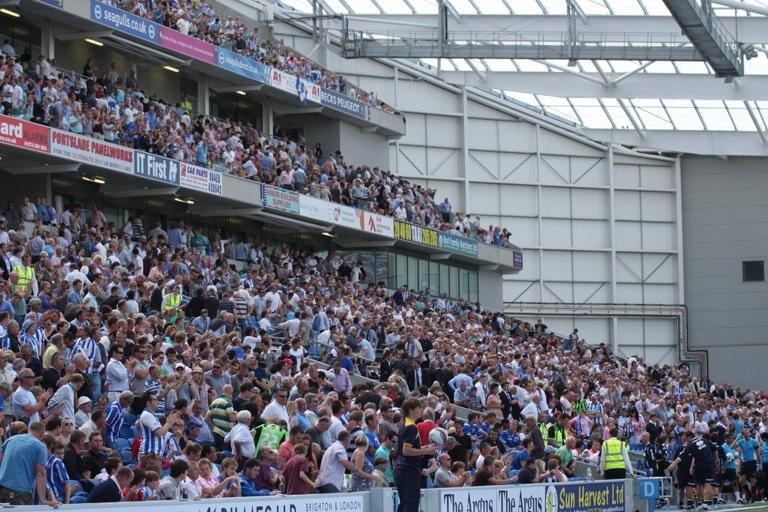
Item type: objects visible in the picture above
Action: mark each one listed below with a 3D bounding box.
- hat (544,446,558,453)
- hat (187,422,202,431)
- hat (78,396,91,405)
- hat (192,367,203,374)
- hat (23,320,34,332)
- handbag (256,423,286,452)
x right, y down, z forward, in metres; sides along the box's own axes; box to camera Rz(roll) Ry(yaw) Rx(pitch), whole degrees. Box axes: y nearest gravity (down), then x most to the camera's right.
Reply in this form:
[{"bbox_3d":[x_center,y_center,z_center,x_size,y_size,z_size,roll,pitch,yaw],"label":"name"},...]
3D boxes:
[{"bbox_3d":[5.723,6.408,70.261,0.385,0.222,0.521,3,-8,3],"label":"hat"},{"bbox_3d":[-5.931,5.356,66.554,0.450,0.315,0.731,5,-8,-5],"label":"hat"},{"bbox_3d":[-9.404,4.491,66.141,0.408,0.303,0.293,4,-8,0],"label":"hat"},{"bbox_3d":[-5.954,3.602,67.831,0.347,0.269,0.462,4,-8,-3],"label":"hat"},{"bbox_3d":[-11.489,2.204,67.933,0.432,0.419,0.167,1,-9,19],"label":"hat"},{"bbox_3d":[-3.457,5.685,66.129,0.609,0.790,0.411,16,-46,8],"label":"handbag"}]
